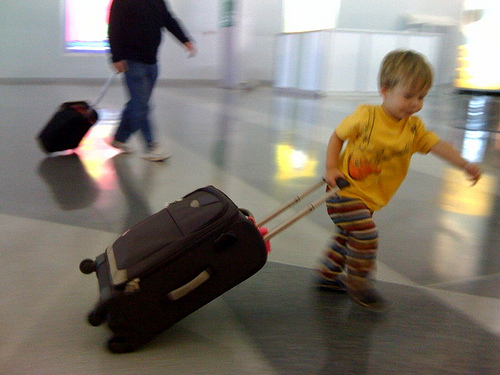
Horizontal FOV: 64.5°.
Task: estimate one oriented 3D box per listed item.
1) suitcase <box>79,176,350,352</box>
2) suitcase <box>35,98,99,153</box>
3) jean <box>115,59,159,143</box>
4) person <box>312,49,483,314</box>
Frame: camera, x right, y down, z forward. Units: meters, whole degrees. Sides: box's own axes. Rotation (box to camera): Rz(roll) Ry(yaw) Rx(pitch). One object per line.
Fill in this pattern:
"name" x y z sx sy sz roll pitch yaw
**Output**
"suitcase" -0.096 0.143 1.431 1.039 0.286 0.374 -33 27 -13
"suitcase" -1.555 -0.544 3.325 0.540 0.318 0.141 -50 40 -15
"jean" -0.912 -0.680 3.171 0.363 0.656 0.174 -3 22 -15
"person" 0.540 -0.014 1.484 0.516 0.958 0.329 6 21 9
